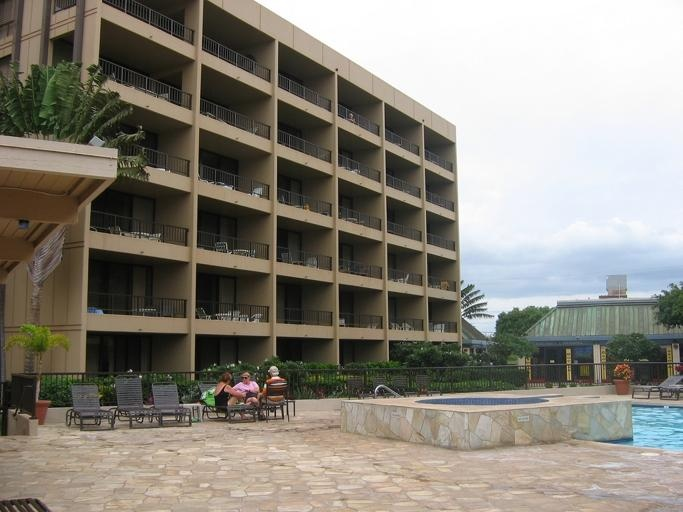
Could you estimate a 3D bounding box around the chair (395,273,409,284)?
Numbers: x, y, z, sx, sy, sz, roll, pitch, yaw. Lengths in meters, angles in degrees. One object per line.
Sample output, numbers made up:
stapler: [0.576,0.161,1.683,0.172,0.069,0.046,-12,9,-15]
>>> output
chair: [4.602,1.769,48.686,0.774,0.983,1.048,-6,-11,25]

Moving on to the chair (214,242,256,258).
chair: [-5.756,-0.293,34.958,1.585,0.936,0.983,1,-4,-21]

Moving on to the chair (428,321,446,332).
chair: [7.563,5.639,50.958,0.678,0.846,1.278,-8,-9,38]

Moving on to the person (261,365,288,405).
person: [-2.309,4.384,21.849,0.826,1.239,1.110,-1,-13,-7]

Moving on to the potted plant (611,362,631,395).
potted plant: [14.898,6.519,34.179,0.965,1.655,1.037,-2,-12,21]

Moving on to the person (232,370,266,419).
person: [-3.091,4.631,21.712,1.047,1.341,1.220,-3,-6,-4]

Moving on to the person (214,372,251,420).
person: [-3.788,4.576,22.195,1.271,1.289,0.884,-4,11,-42]
